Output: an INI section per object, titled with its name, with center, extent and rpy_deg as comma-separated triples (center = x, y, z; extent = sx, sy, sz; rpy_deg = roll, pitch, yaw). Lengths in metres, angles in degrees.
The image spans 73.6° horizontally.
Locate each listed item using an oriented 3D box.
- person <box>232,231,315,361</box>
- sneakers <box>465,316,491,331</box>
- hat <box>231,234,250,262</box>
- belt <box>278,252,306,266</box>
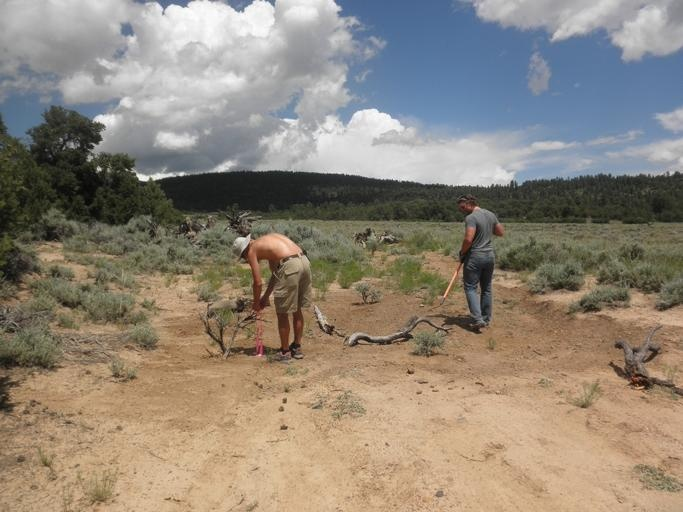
[person]
center = -1.121, 0.752, 7.968
extent = 1.153, 2.270, 0.685
rpy_deg = -2, 6, -7
[sneakers]
center = 2.873, 1.395, 9.530
extent = 0.494, 0.243, 0.240
rpy_deg = -4, 5, -21
[hat]
center = -1.736, -0.139, 7.955
extent = 0.305, 0.405, 0.390
rpy_deg = -3, 6, -15
[belt]
center = -0.805, 0.037, 7.757
extent = 0.206, 0.206, 0.498
rpy_deg = 4, 8, 40
